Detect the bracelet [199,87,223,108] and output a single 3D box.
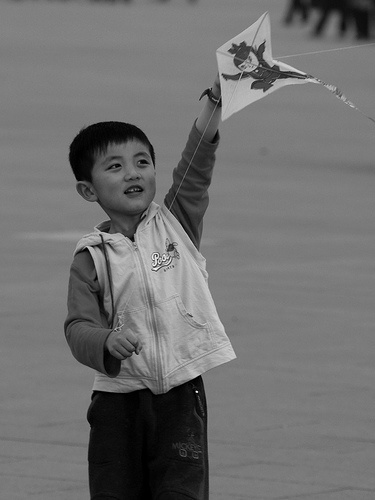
[{"bbox_3d":[0.075,-0.462,3.821,0.053,0.071,0.051,27,22,-6],"label":"bracelet"}]
